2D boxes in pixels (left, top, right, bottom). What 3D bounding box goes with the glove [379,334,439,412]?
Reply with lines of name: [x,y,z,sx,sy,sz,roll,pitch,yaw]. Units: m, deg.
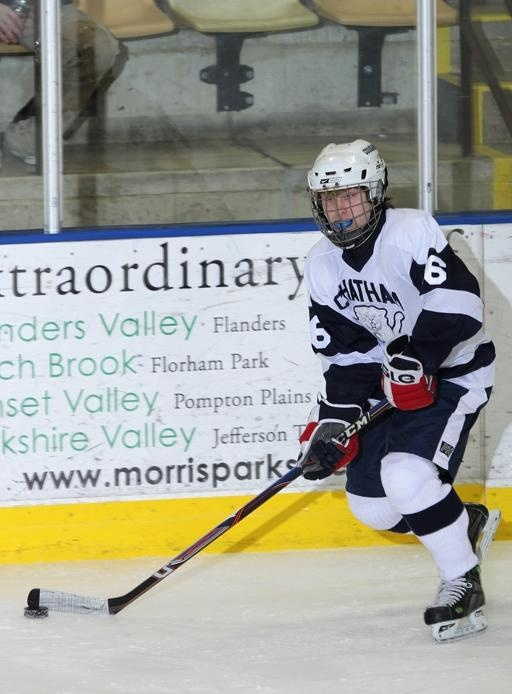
glove: [0.399,0.063,2.427,0.168,0.150,0.199,7,30,23]

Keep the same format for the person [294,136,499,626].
person: [0.411,0.077,2.528,0.437,1.256,0.552,-9,9,-40]

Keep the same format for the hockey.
hockey: [-0.177,0.475,2.853,1.178,0.076,0.130,-27,58,-24]

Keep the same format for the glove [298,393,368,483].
glove: [0.200,0.247,2.625,0.105,0.176,0.235,20,51,34]

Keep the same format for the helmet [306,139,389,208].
helmet: [0.236,-0.456,2.452,0.190,0.171,0.158,-1,6,11]
